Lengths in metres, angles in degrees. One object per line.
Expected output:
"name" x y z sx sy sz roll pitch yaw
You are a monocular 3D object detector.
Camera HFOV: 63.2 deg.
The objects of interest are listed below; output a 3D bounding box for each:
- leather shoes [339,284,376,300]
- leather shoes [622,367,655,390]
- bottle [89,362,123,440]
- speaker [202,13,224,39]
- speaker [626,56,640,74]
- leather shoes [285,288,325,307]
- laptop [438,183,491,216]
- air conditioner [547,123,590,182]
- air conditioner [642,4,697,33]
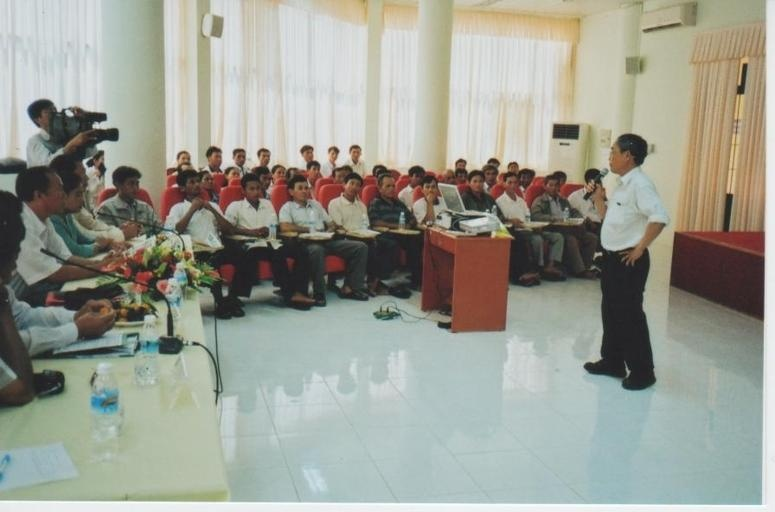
"leather shoes" -0.331 0.384 6.464 0.308 0.122 0.161 -1 11 0
"leather shoes" 1.916 0.920 4.710 0.222 0.144 0.131 1 4 -2
"bottle" -1.281 0.639 2.838 0.132 0.320 0.195 -8 15 -24
"speaker" -2.459 -3.196 8.799 0.215 0.298 0.353 -11 16 -34
"speaker" 4.283 -3.244 10.828 0.281 0.265 0.081 2 3 27
"leather shoes" -0.753 0.415 6.110 0.431 0.171 0.147 -1 5 12
"laptop" 0.757 -0.539 5.993 0.357 0.293 0.397 -4 7 -20
"air conditioner" 3.558 -1.990 12.513 0.677 1.112 0.628 5 1 21
"air conditioner" 4.555 -3.780 10.077 0.224 0.352 1.087 -5 14 -13
